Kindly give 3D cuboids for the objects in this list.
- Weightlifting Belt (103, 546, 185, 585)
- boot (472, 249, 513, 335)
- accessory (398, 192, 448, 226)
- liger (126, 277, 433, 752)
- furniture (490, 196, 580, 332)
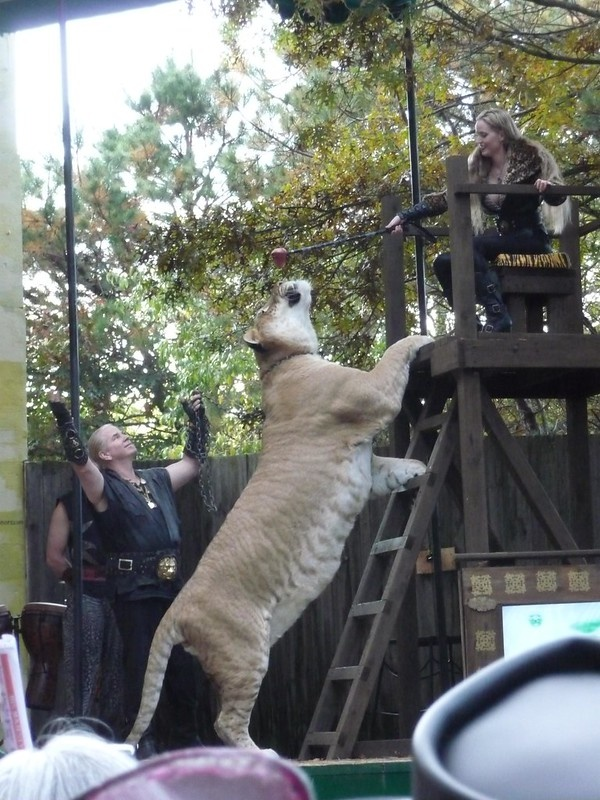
[{"bbox_3d":[-0.849,0.907,9.464,0.280,0.192,0.236,2,2,-19],"label":"Weightlifting Belt"},{"bbox_3d":[1.026,-0.579,9.462,0.196,0.454,0.208,4,2,-9],"label":"boot"},{"bbox_3d":[0.643,-1.093,9.943,0.414,0.149,0.116,-10,-1,26],"label":"accessory"},{"bbox_3d":[0.012,0.658,9.392,1.673,3.530,0.884,-3,-6,22],"label":"liger"},{"bbox_3d":[1.361,-0.661,9.590,0.546,0.981,0.488,-3,3,-7],"label":"furniture"}]
